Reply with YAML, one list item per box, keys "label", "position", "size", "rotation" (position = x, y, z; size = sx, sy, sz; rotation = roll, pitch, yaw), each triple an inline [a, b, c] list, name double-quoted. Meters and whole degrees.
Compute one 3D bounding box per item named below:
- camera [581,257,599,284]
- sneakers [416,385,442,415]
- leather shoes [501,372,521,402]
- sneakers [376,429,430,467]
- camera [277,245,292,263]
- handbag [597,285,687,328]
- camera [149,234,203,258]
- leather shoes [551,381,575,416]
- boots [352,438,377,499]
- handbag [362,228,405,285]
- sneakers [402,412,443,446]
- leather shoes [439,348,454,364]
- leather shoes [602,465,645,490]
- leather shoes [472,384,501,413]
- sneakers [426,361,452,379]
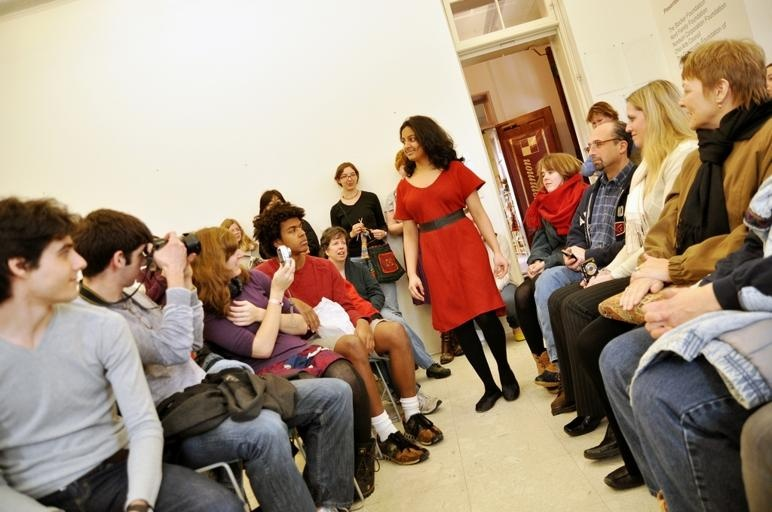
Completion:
- label: "camera"
  position: [1.121, 0.075, 2.770]
  size: [0.103, 0.142, 0.045]
  rotation: [2, 3, -1]
- label: "sneakers"
  position: [0.292, 1.062, 3.734]
  size: [0.092, 0.128, 0.272]
  rotation: [-32, 3, -17]
- label: "leather shoes"
  position: [0.849, 0.860, 3.414]
  size: [0.088, 0.089, 0.222]
  rotation: [-25, 21, 10]
- label: "sneakers"
  position: [0.099, 1.128, 3.001]
  size: [0.323, 0.132, 0.139]
  rotation: [-4, 1, 30]
- label: "camera"
  position: [-0.575, -0.015, 2.882]
  size: [0.059, 0.110, 0.038]
  rotation: [-9, -9, -6]
- label: "handbag"
  position: [0.993, 0.209, 2.010]
  size: [0.187, 0.049, 0.207]
  rotation: [-24, 1, 13]
- label: "camera"
  position: [-0.972, -0.055, 2.327]
  size: [0.171, 0.086, 0.105]
  rotation: [-16, 11, -39]
- label: "leather shoes"
  position: [1.071, 0.823, 2.991]
  size: [0.101, 0.121, 0.264]
  rotation: [-13, 10, 40]
- label: "boots"
  position: [-0.149, 1.159, 2.778]
  size: [0.172, 0.285, 0.222]
  rotation: [2, -8, -11]
- label: "handbag"
  position: [-0.034, 0.012, 4.815]
  size: [0.255, 0.529, 0.389]
  rotation: [-28, -5, 34]
- label: "sneakers"
  position: [0.231, 1.064, 3.174]
  size: [0.123, 0.125, 0.267]
  rotation: [-13, 9, -37]
- label: "leather shoes"
  position: [0.591, 0.960, 4.848]
  size: [0.106, 0.102, 0.240]
  rotation: [-2, -7, 7]
- label: "leather shoes"
  position: [1.040, 0.968, 2.246]
  size: [0.185, 0.137, 0.069]
  rotation: [-1, -2, 16]
- label: "leather shoes"
  position: [0.688, 0.942, 3.397]
  size: [0.091, 0.098, 0.250]
  rotation: [-15, 9, 38]
- label: "sneakers"
  position: [0.437, 0.992, 4.466]
  size: [0.124, 0.131, 0.299]
  rotation: [-5, -4, -32]
